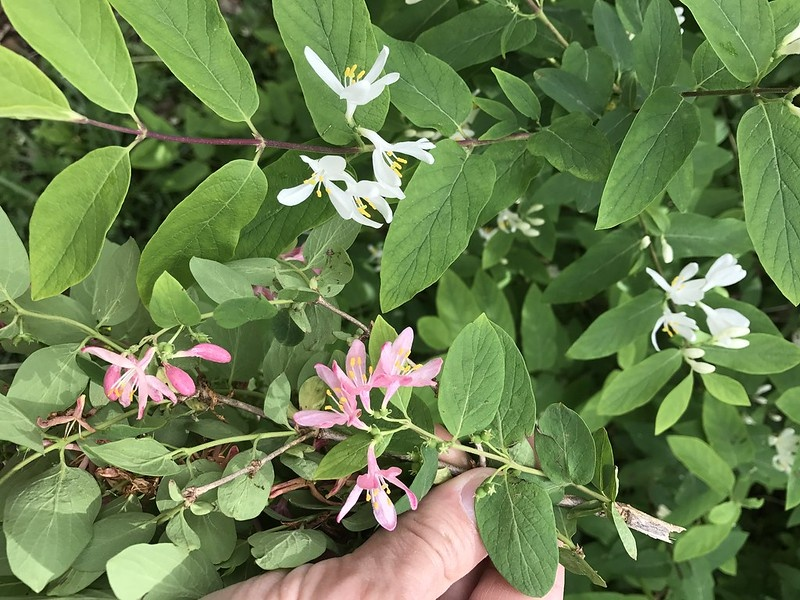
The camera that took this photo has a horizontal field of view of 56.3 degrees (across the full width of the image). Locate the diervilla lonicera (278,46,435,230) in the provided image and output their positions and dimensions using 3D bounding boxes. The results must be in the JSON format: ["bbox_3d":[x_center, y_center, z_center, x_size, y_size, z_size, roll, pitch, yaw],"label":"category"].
[{"bbox_3d":[-0.077,-0.489,2.013,0.430,0.490,0.388,12,41,18],"label":"diervilla lonicera"}]

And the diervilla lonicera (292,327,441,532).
[{"bbox_3d":[-0.057,0.286,2.014,0.349,0.236,0.570,-24,71,3],"label":"diervilla lonicera"}]

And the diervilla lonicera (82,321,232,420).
[{"bbox_3d":[-0.634,0.186,1.935,0.279,0.297,0.223,-15,69,14],"label":"diervilla lonicera"}]
